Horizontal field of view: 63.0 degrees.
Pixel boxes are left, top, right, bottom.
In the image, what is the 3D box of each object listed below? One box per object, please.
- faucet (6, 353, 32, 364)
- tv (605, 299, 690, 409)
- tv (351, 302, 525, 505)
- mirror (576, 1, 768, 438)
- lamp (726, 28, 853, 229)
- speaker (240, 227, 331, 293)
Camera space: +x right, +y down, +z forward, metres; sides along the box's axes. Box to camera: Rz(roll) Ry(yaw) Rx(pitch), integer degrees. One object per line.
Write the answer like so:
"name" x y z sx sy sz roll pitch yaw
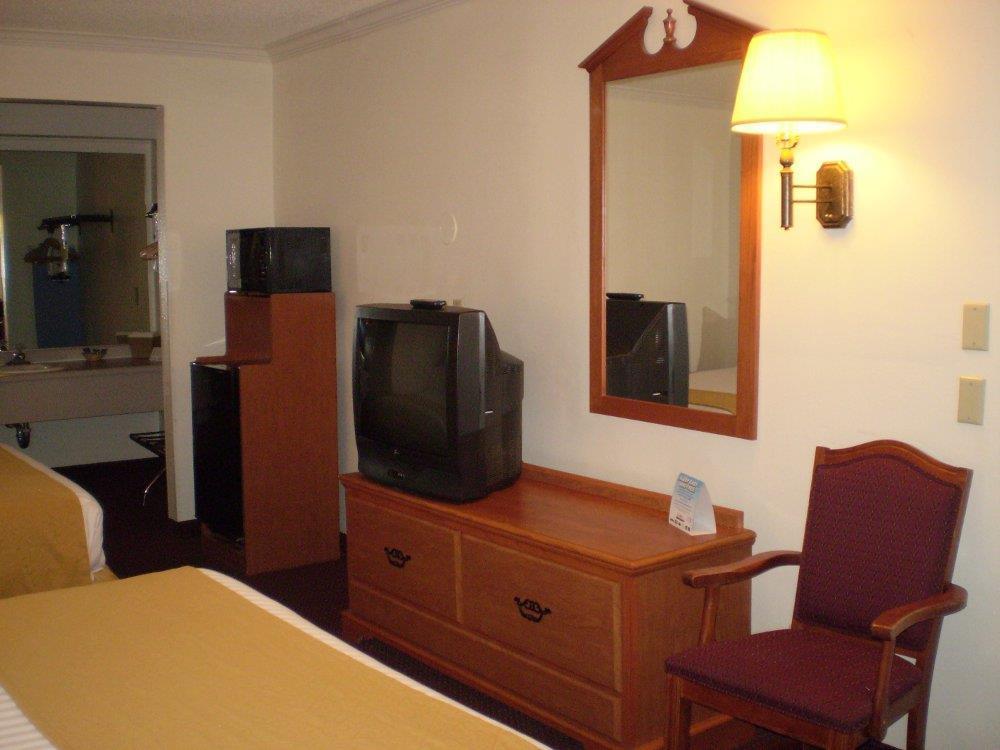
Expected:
"faucet" -3.460 -0.110 5.835 0.096 0.080 0.102 0 -4 -22
"tv" 0.604 -0.092 3.253 0.223 0.434 0.355 -6 11 -29
"tv" -0.313 0.100 3.809 0.936 0.986 0.731 6 6 41
"mirror" 0.650 -0.604 3.169 0.147 1.612 0.875 -6 12 -37
"lamp" 0.955 -0.789 2.637 0.363 0.621 0.365 7 11 32
"speaker" -1.242 -0.666 4.732 0.541 0.375 0.329 -2 10 -19
